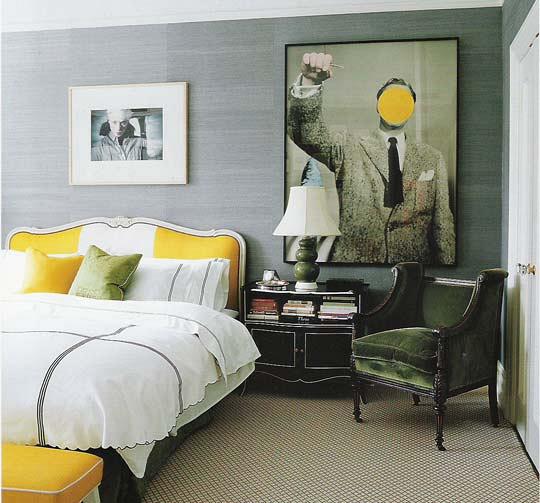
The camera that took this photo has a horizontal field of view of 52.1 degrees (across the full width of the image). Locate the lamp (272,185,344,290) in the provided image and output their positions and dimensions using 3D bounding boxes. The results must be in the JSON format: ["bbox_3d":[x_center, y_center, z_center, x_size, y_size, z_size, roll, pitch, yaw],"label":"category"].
[{"bbox_3d":[0.282,-0.095,3.797,0.419,0.702,0.485,3,8,23],"label":"lamp"}]

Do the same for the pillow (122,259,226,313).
[{"bbox_3d":[-0.595,0.193,3.588,0.402,0.401,0.139,8,-44,-5],"label":"pillow"}]

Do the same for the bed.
[{"bbox_3d":[-0.700,0.501,2.805,1.080,0.704,1.383,3,6,11],"label":"bed"}]

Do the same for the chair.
[{"bbox_3d":[0.924,0.573,3.264,0.685,1.023,0.749,3,-1,-45],"label":"chair"}]

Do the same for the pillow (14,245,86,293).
[{"bbox_3d":[-1.470,0.126,3.686,0.247,0.256,0.104,4,-32,-3],"label":"pillow"}]

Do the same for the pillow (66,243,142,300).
[{"bbox_3d":[-1.042,0.124,3.482,0.313,0.343,0.110,4,-28,29],"label":"pillow"}]

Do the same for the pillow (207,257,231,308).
[{"bbox_3d":[-0.344,0.217,3.695,0.160,0.293,0.071,-5,-7,35],"label":"pillow"}]

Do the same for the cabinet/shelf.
[{"bbox_3d":[0.310,0.505,3.868,0.962,1.097,0.652,-1,-5,14],"label":"cabinet/shelf"}]

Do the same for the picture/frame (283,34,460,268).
[{"bbox_3d":[0.758,-0.708,3.869,1.382,2.011,0.025,0,1,10],"label":"picture/frame"}]
